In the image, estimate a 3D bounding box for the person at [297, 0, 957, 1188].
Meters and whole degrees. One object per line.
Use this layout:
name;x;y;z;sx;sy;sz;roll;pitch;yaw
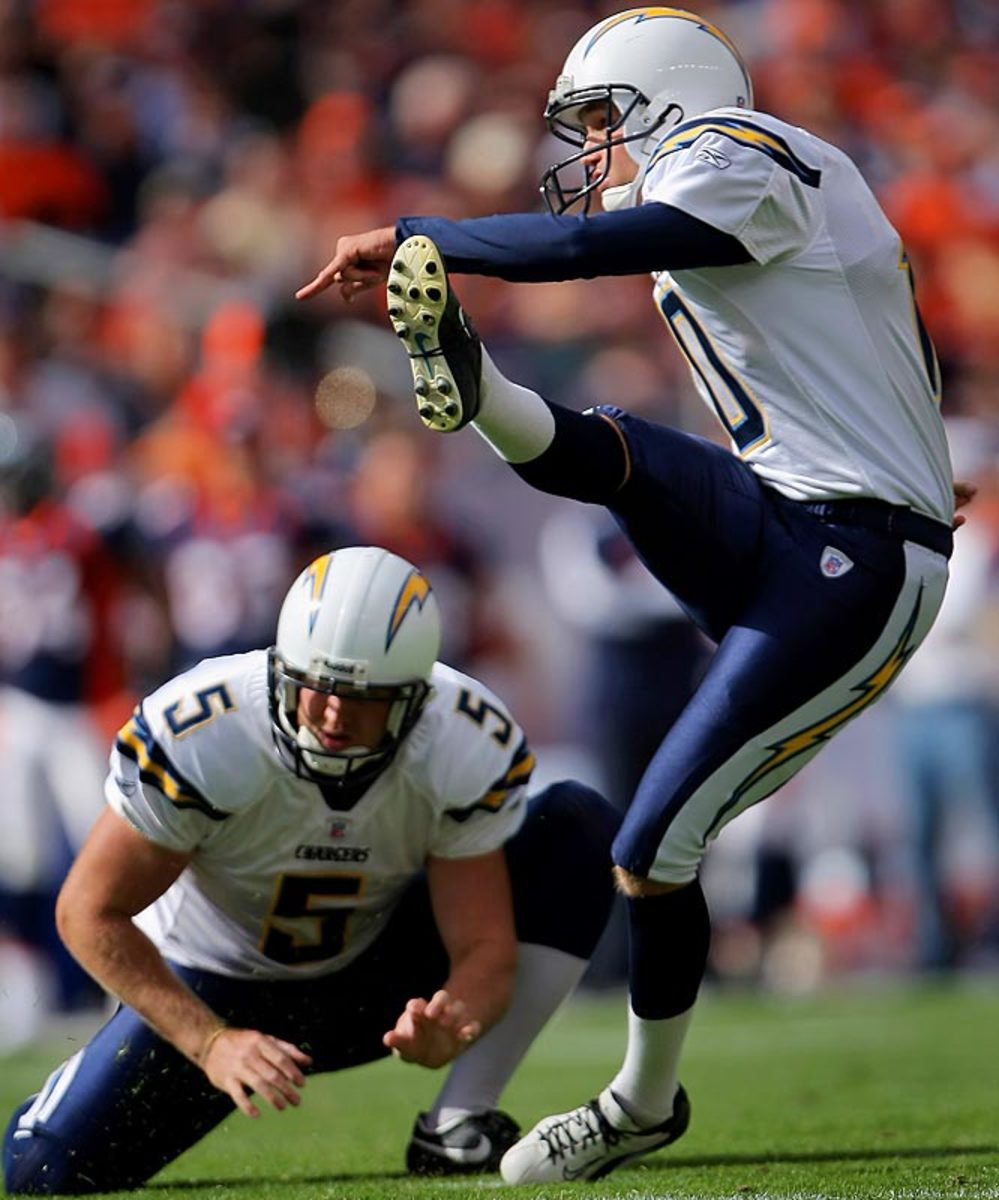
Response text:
person;0.303;0.024;2.488;0.769;1.779;1.113;0;27;15

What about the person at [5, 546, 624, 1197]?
person;-0.279;0.505;2.736;1.109;0.798;1.065;1;-17;-9
